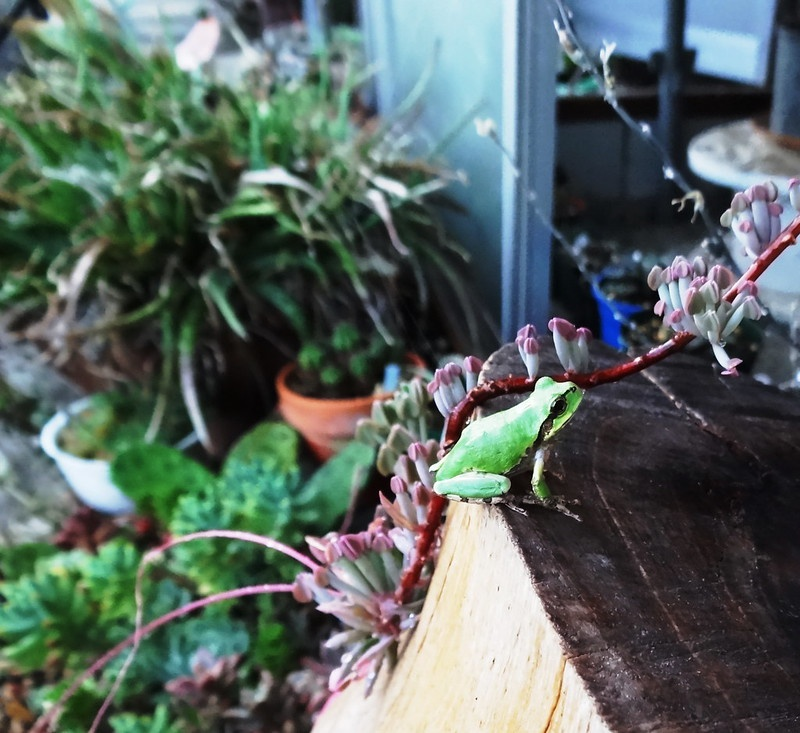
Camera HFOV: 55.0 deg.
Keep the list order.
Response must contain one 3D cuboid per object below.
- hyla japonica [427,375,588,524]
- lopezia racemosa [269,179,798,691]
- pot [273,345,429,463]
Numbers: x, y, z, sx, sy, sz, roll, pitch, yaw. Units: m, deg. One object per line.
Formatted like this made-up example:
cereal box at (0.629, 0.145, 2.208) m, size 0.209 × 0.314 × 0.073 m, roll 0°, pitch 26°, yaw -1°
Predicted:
hyla japonica at (0.070, 0.059, 0.499) m, size 0.100 × 0.090 × 0.049 m, roll -6°, pitch 19°, yaw 0°
lopezia racemosa at (0.095, 0.034, 0.683) m, size 0.332 × 0.352 × 0.419 m, roll -17°, pitch 30°, yaw -25°
pot at (-0.049, 0.040, 0.738) m, size 0.085 × 0.083 × 0.102 m, roll -23°, pitch 36°, yaw -35°
